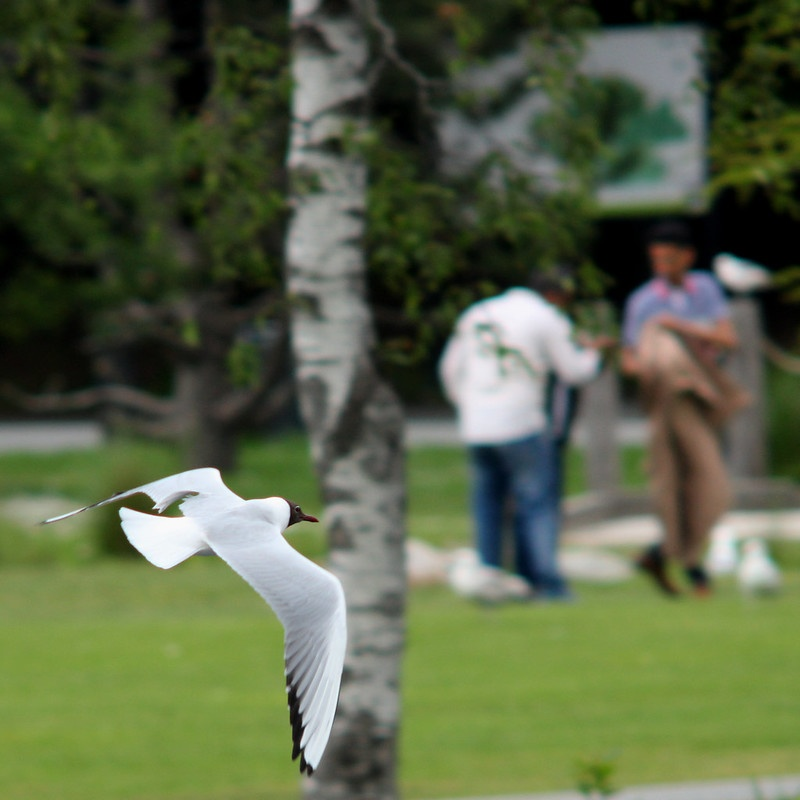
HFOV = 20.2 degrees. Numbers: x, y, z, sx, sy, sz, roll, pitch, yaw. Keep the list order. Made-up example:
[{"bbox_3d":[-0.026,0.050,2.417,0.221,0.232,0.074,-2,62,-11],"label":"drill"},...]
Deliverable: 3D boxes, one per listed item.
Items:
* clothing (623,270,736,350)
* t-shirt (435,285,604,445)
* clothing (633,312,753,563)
[{"bbox_3d":[1.499,-0.456,12.143,0.592,0.366,0.279,-7,-3,-8],"label":"clothing"},{"bbox_3d":[0.597,-0.157,10.862,0.934,0.677,0.529,-4,6,40],"label":"t-shirt"},{"bbox_3d":[1.560,0.242,12.104,0.565,1.299,0.298,0,13,5],"label":"clothing"}]
